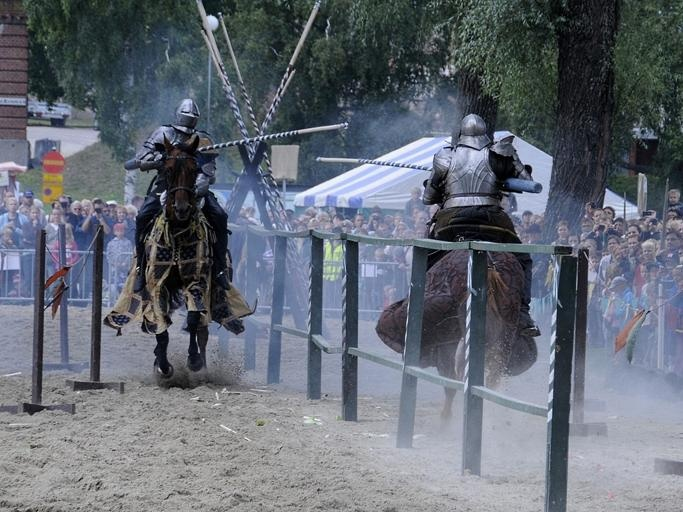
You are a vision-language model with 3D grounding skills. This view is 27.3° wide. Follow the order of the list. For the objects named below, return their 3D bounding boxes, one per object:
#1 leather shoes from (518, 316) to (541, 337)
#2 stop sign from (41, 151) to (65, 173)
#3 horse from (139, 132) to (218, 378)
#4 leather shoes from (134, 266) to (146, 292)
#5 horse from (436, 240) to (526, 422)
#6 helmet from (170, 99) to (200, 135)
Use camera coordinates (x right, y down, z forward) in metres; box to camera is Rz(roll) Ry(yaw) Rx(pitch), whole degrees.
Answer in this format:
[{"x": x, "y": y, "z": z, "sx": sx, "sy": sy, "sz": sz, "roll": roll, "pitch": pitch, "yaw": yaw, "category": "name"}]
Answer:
[{"x": 2.389, "y": 0.923, "z": 18.156, "sx": 0.088, "sy": 0.261, "sz": 0.299, "roll": -33, "pitch": -9, "yaw": 37, "category": "leather shoes"}, {"x": -5.779, "y": -1.855, "z": 28.350, "sx": 0.385, "sy": 0.454, "sz": 0.558, "roll": -2, "pitch": 14, "yaw": -13, "category": "stop sign"}, {"x": -2.237, "y": 0.011, "z": 19.363, "sx": 1.113, "sy": 3.317, "sz": 0.757, "roll": -5, "pitch": 16, "yaw": -23, "category": "horse"}, {"x": -2.762, "y": 0.347, "z": 19.409, "sx": 0.132, "sy": 0.290, "sz": 0.231, "roll": 8, "pitch": 3, "yaw": 3, "category": "leather shoes"}, {"x": 1.793, "y": 1.078, "z": 18.045, "sx": 1.361, "sy": 2.174, "sz": 1.005, "roll": 3, "pitch": 15, "yaw": 5, "category": "horse"}, {"x": -2.226, "y": -1.950, "z": 19.980, "sx": 0.469, "sy": 0.441, "sz": 0.497, "roll": 5, "pitch": -2, "yaw": -22, "category": "helmet"}]
